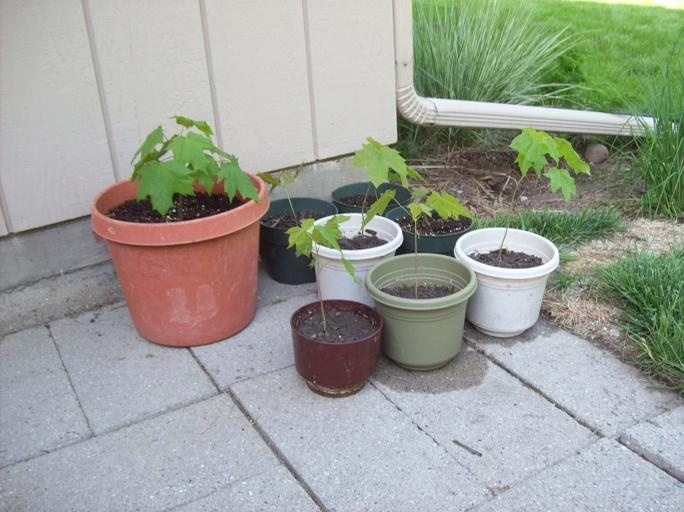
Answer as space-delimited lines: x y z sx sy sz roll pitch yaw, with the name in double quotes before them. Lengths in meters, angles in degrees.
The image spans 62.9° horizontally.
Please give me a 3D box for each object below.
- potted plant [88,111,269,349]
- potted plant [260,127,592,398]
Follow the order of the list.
"potted plant" -0.965 -0.149 3.292 0.984 1.159 1.022 14 25 33
"potted plant" 0.504 0.034 3.354 1.571 0.585 1.485 -3 25 -9
